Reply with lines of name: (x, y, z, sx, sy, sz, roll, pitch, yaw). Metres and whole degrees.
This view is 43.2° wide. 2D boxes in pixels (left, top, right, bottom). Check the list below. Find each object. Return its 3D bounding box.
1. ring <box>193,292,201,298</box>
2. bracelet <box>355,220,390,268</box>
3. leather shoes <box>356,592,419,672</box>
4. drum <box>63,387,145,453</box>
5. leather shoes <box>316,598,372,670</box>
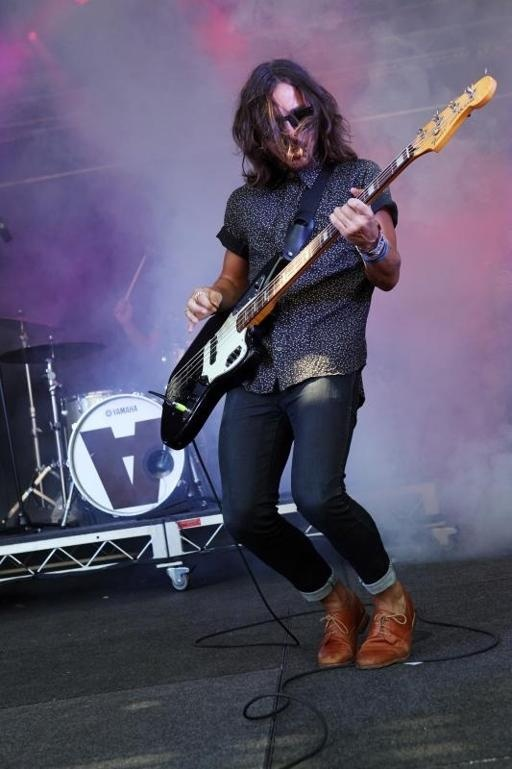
ring: (-0.153, -0.233, 1.682, 0.005, 0.020, 0.013, 26, 36, -34)
bracelet: (0.245, -0.283, 1.319, 0.054, 0.068, 0.068, 23, 25, -32)
leather shoes: (0.284, 0.536, 1.412, 0.071, 0.065, 0.172, -5, 28, 28)
drum: (-0.796, 0.186, 3.332, 0.322, 0.292, 0.298, -3, -10, -9)
leather shoes: (0.199, 0.552, 1.447, 0.063, 0.077, 0.180, -19, 1, 17)
